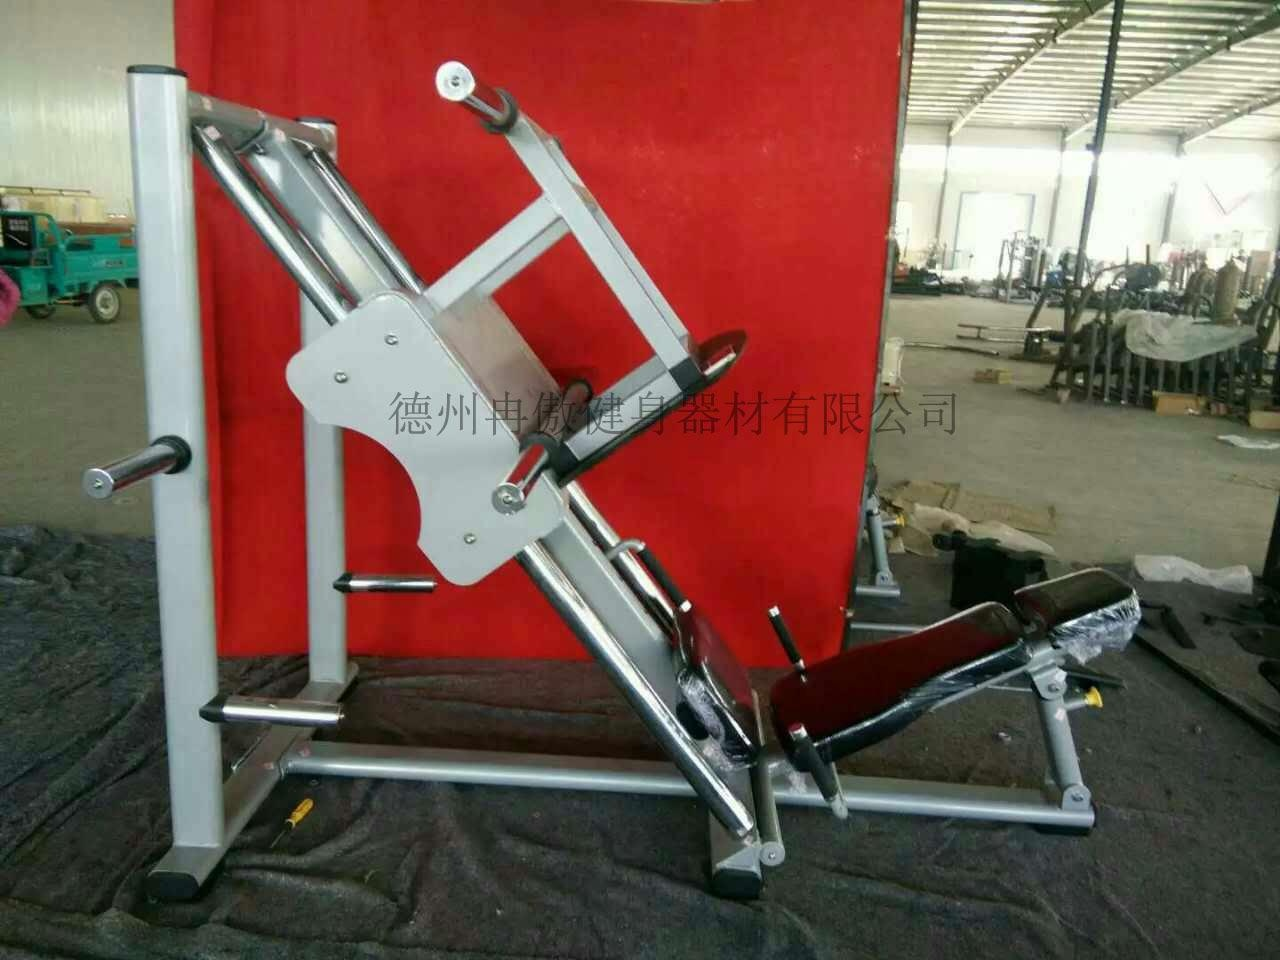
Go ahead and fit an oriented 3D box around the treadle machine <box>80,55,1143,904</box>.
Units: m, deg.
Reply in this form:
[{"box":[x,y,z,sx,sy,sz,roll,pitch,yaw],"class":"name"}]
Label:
[{"box":[0.132,-0.038,3.197,2.495,2.348,2.051,1,12,3],"class":"treadle machine"}]
